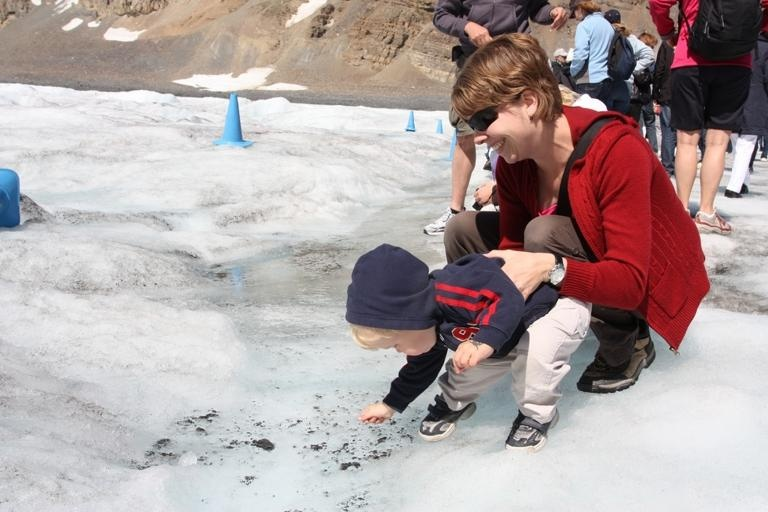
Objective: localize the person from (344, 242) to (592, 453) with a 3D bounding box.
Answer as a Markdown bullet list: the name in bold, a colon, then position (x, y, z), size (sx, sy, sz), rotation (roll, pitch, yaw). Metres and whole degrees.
- **person**: position (0.411, 0.346, 2.737), size (1.093, 0.608, 0.637), rotation (-1, -12, -12)

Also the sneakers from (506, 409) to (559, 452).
- **sneakers**: position (0.620, 0.706, 2.776), size (0.101, 0.090, 0.260), rotation (13, 22, 43)

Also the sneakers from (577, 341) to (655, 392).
- **sneakers**: position (1.090, 0.479, 3.122), size (0.461, 0.172, 0.161), rotation (-16, 22, -25)

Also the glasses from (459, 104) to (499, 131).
- **glasses**: position (0.388, -0.555, 2.745), size (0.111, 0.056, 0.087), rotation (-39, 3, -20)
